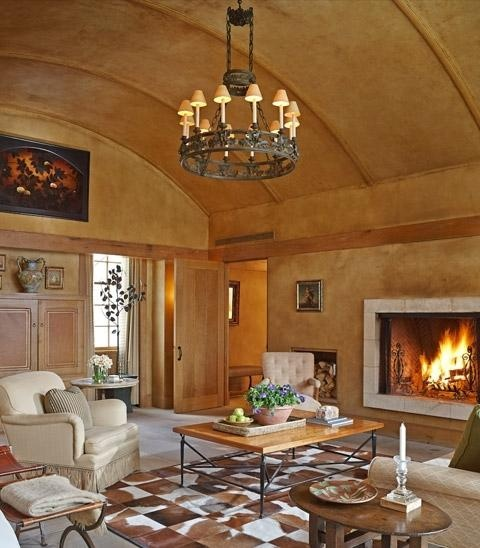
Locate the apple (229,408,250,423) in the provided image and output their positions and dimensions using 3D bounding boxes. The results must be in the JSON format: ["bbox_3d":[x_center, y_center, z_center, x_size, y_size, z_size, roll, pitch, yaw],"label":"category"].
[{"bbox_3d":[-0.010,1.134,4.001,0.153,0.067,0.145,0,-7,-2],"label":"apple"}]

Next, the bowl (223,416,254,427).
[{"bbox_3d":[-0.013,1.179,3.993,0.240,0.085,0.237,-1,-5,0],"label":"bowl"}]

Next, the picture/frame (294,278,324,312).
[{"bbox_3d":[0.980,0.294,7.060,0.040,0.486,0.519,4,-4,-43],"label":"picture/frame"}]

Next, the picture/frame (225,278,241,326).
[{"bbox_3d":[-0.204,0.550,9.783,0.105,0.855,0.674,6,-3,-25],"label":"picture/frame"}]

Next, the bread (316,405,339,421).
[{"bbox_3d":[0.747,1.219,4.398,0.141,0.082,0.142,-3,-4,24],"label":"bread"}]

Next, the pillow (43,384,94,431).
[{"bbox_3d":[-1.388,1.112,4.193,0.168,0.275,0.353,2,-15,17],"label":"pillow"}]

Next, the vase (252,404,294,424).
[{"bbox_3d":[0.250,1.138,4.007,0.214,0.070,0.205,-1,-6,14],"label":"vase"}]

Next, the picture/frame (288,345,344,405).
[{"bbox_3d":[1.095,1.627,7.183,0.738,0.919,0.739,1,-14,30],"label":"picture/frame"}]

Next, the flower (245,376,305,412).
[{"bbox_3d":[0.250,0.992,4.108,0.321,0.145,0.322,0,-2,-4],"label":"flower"}]

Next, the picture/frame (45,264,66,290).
[{"bbox_3d":[-2.636,0.044,7.139,0.034,0.416,0.393,-3,-3,44],"label":"picture/frame"}]
